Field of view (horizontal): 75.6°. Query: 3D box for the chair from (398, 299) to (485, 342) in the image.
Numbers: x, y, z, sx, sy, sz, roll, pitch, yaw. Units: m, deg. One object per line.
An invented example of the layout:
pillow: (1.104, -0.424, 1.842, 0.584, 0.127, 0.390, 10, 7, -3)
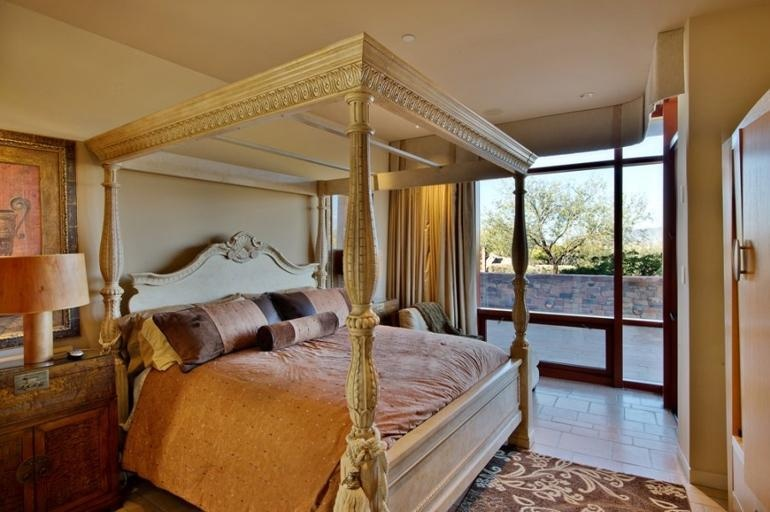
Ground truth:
chair: (0.590, 0.810, 6.370, 0.672, 0.425, 0.657, 4, -10, -42)
